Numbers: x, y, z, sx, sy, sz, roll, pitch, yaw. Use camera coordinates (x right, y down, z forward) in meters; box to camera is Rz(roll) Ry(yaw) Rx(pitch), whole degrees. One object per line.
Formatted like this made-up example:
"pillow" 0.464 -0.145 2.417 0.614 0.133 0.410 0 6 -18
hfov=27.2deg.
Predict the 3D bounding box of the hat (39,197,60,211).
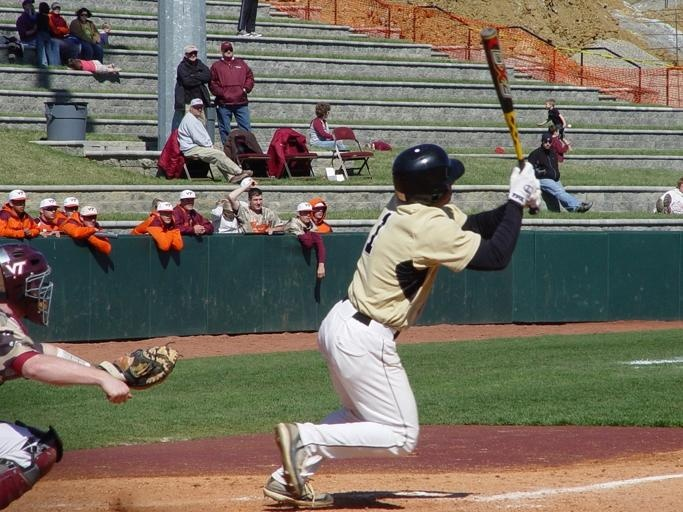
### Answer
"hat" -4.998 -0.937 23.509 0.329 0.162 0.248 -13 -12 39

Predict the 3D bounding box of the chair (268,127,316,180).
"chair" -1.011 -2.060 27.492 1.003 0.966 0.945 3 7 19

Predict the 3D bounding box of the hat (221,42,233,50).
"hat" -2.226 -4.076 27.093 0.159 0.156 0.282 2 8 0

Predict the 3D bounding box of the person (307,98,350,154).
"person" -0.304 -2.697 28.625 0.916 1.111 0.916 1 12 -7

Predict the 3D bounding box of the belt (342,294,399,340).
"belt" 0.459 0.717 17.395 0.464 0.134 0.348 34 -22 -5

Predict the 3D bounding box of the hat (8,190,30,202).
"hat" -5.400 -1.029 23.136 0.355 0.176 0.258 -4 -6 44

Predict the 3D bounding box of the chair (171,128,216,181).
"chair" -3.079 -1.915 26.977 0.938 1.211 0.711 1 4 17

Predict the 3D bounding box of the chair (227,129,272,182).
"chair" -1.800 -2.066 27.050 0.777 0.928 0.865 -5 4 -35

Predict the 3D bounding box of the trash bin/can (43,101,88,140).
"trash bin/can" -5.470 -2.700 27.648 0.781 0.571 0.775 -1 -2 -4

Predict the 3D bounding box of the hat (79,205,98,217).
"hat" -4.216 -0.784 23.184 0.260 0.165 0.270 0 8 -15

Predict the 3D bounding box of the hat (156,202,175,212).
"hat" -2.983 -0.848 23.484 0.231 0.167 0.373 4 -2 -12

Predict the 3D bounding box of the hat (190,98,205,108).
"hat" -2.681 -2.855 25.791 0.210 0.142 0.312 1 8 -7

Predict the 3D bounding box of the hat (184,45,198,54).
"hat" -2.898 -3.968 26.598 0.173 0.096 0.258 -3 1 -24

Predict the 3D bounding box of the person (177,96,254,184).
"person" -2.447 -2.192 26.188 1.243 1.548 0.810 1 8 -10

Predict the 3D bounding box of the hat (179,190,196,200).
"hat" -2.613 -1.069 23.714 0.207 0.161 0.235 0 8 -16
